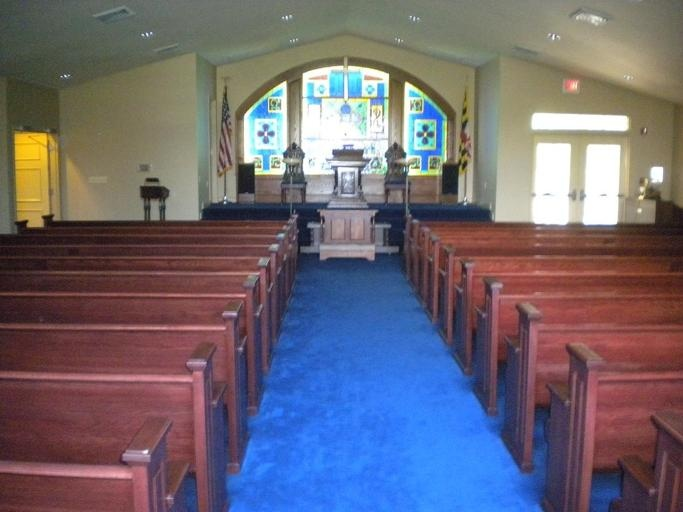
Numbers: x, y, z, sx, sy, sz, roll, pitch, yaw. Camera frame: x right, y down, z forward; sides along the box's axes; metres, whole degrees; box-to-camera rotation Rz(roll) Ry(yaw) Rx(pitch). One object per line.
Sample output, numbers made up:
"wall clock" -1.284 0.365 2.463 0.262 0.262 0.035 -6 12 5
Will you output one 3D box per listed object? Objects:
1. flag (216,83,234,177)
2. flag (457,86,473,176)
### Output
"flag" -2.672 -2.826 12.525 0.354 1.973 0.994 -3 12 -11
"flag" 2.809 -2.800 12.599 0.295 1.889 0.868 2 12 12
